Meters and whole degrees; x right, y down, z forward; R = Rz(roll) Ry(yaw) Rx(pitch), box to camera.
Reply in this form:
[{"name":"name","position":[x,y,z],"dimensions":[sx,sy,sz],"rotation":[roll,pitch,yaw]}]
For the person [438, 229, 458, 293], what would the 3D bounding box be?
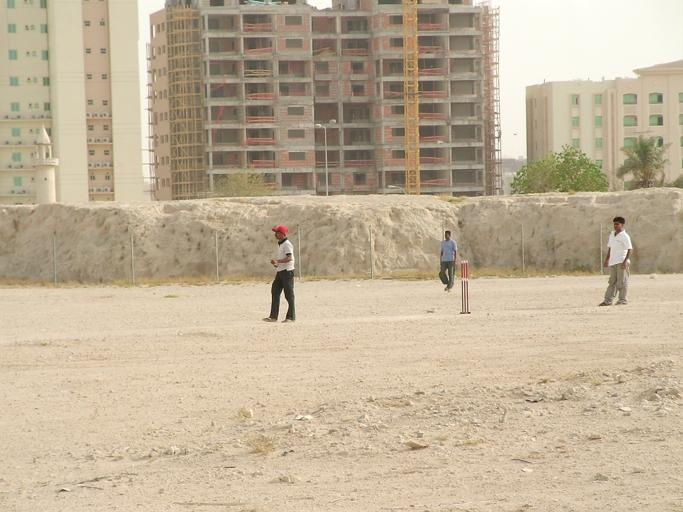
[{"name":"person","position":[5.202,0.121,72.973],"dimensions":[0.821,3.214,1.408],"rotation":[-2,14,2]}]
